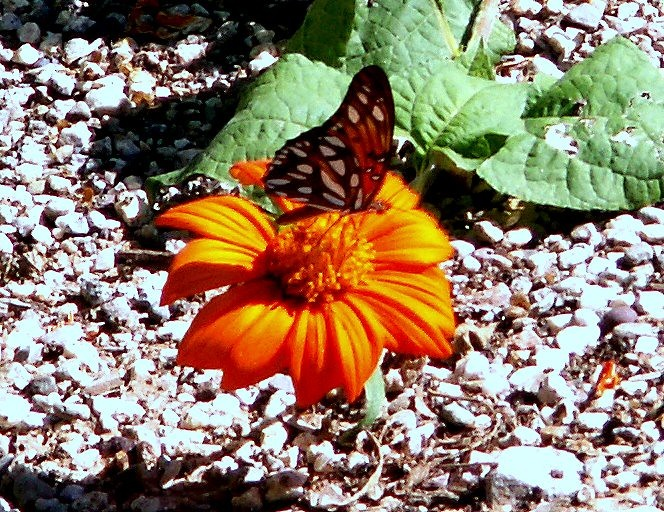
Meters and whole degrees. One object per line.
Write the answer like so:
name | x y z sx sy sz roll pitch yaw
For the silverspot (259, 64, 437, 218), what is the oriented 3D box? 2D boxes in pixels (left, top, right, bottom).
silverspot | -0.013 -0.226 2.316 0.556 0.595 0.481 4 101 3

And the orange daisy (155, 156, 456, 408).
orange daisy | -0.048 0.085 2.139 0.704 0.194 0.560 -8 63 -13
